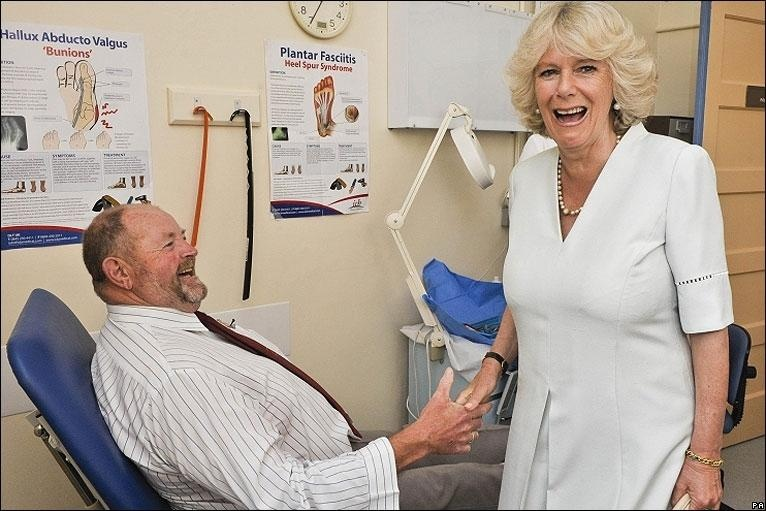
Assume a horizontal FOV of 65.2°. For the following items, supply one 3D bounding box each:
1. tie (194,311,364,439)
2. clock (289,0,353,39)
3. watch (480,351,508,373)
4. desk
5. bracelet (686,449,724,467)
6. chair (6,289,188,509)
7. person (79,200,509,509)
[{"bbox_3d":[-0.407,0.437,2.241,0.104,0.873,0.127,-41,19,32],"label":"tie"},{"bbox_3d":[-0.297,-1.075,2.696,0.213,0.211,0.018,0,7,-30],"label":"clock"},{"bbox_3d":[0.379,0.357,2.057,0.088,0.090,0.057,-14,20,21],"label":"watch"},{"bbox_3d":[0.388,0.533,2.964,0.439,0.520,0.525,-1,-2,41],"label":"desk"},{"bbox_3d":[0.889,0.567,1.653,0.057,0.016,0.058,6,1,16],"label":"bracelet"},{"bbox_3d":[-0.950,0.472,1.880,0.372,0.647,0.569,-6,7,-36],"label":"chair"},{"bbox_3d":[-0.222,0.328,2.118,1.408,0.840,0.853,0,2,-19],"label":"person"}]
